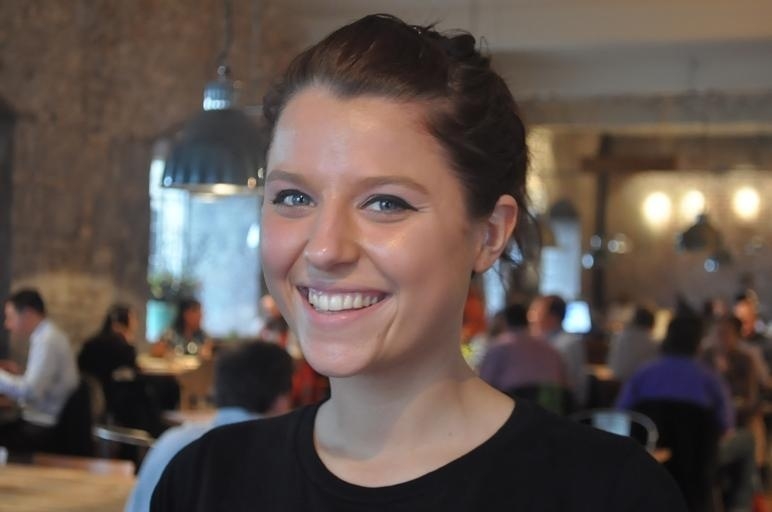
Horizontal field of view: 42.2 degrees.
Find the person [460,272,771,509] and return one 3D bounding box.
[{"bbox_3d":[1.415,0.781,5.319,0.810,1.216,0.855,1,-8,36],"label":"person"}]

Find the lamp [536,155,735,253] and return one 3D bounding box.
[{"bbox_3d":[1.582,-0.331,6.500,0.327,0.693,0.899,-5,7,-31],"label":"lamp"}]
